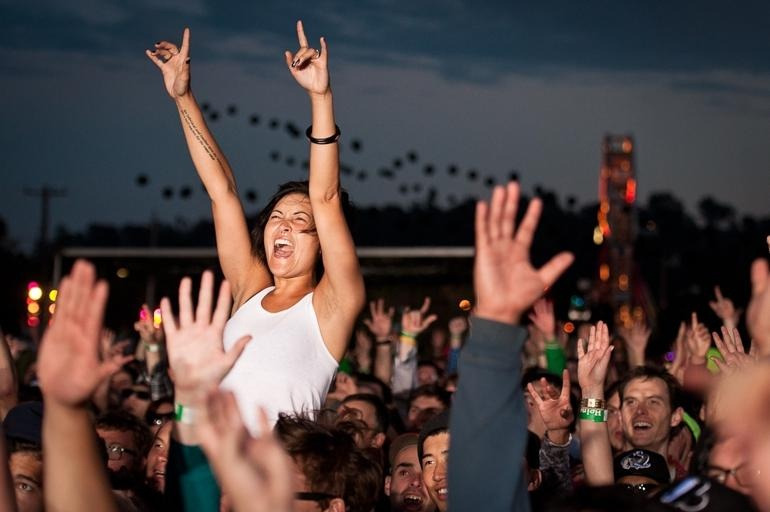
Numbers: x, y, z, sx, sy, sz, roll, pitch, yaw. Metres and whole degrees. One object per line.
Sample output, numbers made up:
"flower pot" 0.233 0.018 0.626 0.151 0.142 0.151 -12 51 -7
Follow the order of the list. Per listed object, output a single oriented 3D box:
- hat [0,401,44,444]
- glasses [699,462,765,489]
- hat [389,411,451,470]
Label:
"hat" -3.376 1.528 9.541 0.353 0.301 0.500 -1 5 -36
"glasses" 2.897 1.838 8.638 0.282 0.129 0.228 12 -11 3
"hat" 0.357 1.762 10.183 0.659 0.387 0.443 -29 -3 7
